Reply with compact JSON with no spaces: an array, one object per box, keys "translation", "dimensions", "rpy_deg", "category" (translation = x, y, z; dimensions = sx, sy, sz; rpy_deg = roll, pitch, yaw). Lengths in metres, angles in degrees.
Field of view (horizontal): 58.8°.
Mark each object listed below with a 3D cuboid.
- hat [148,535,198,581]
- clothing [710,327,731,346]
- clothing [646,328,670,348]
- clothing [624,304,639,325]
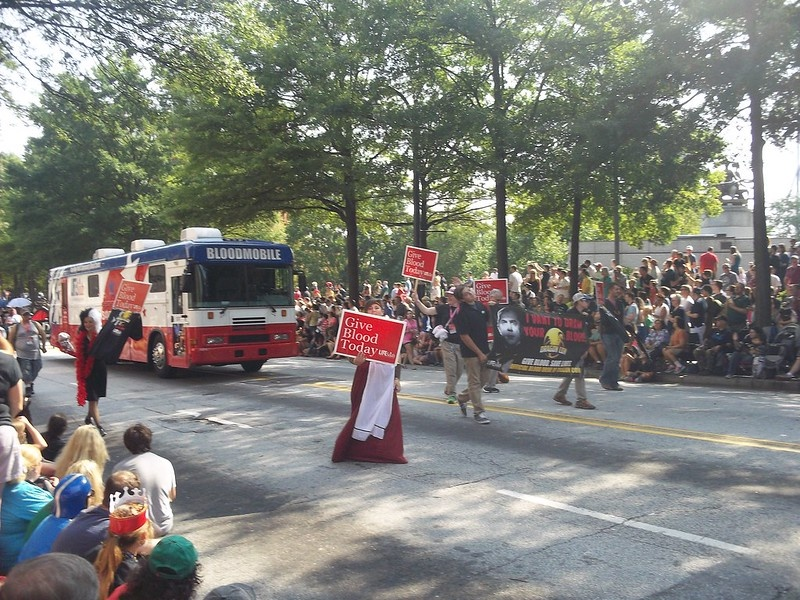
[{"translation":[-1.358,1.541,4.266],"dimensions":[0.255,0.101,0.295],"rpy_deg":[14,18,-1],"category":"hat"},{"translation":[7.469,0.853,16.497],"dimensions":[0.285,0.395,0.498],"rpy_deg":[35,-17,-24],"category":"clothing"},{"translation":[6.339,0.932,17.395],"dimensions":[0.348,0.440,0.513],"rpy_deg":[27,-1,-7],"category":"clothing"},{"translation":[5.734,0.345,17.616],"dimensions":[0.421,0.503,0.621],"rpy_deg":[6,0,23],"category":"clothing"}]
